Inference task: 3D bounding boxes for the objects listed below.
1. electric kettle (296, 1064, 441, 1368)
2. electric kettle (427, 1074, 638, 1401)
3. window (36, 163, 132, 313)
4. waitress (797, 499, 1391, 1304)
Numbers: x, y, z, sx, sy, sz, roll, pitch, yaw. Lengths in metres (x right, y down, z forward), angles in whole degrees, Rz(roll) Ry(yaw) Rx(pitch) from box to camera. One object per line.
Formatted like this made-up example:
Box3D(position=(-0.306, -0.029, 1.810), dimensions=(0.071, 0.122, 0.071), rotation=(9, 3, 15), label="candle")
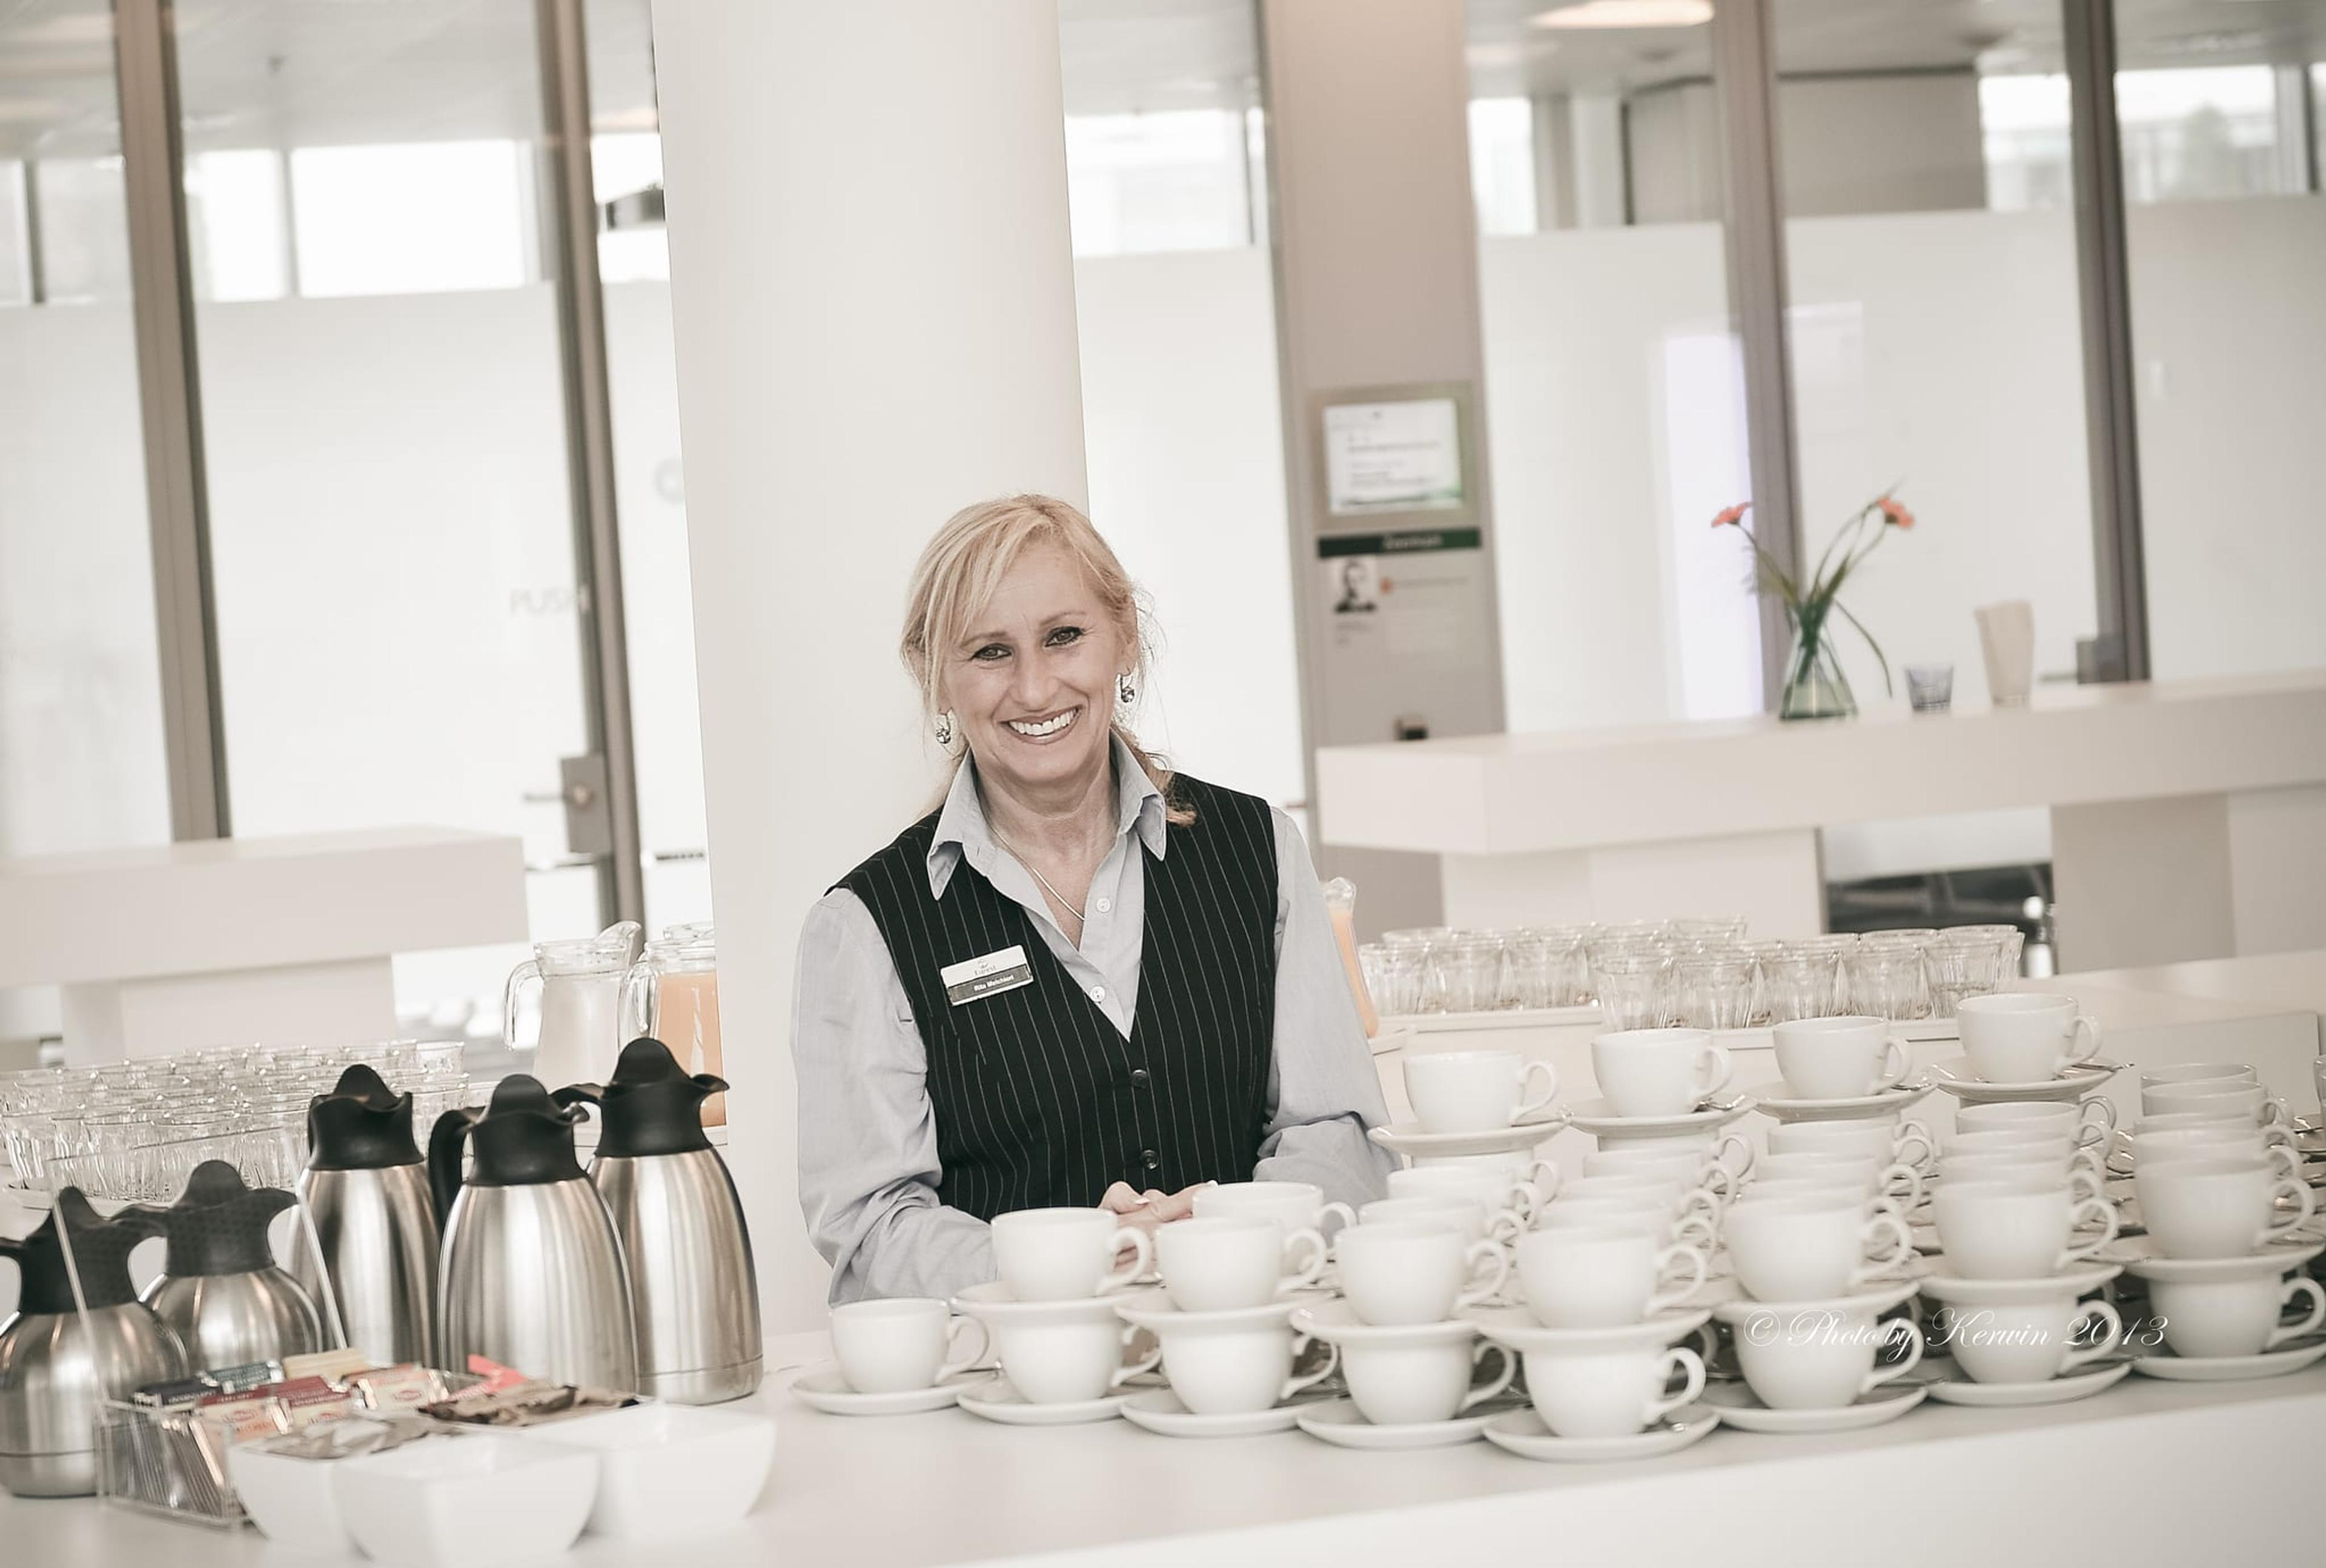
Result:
Box3D(position=(-0.843, 0.456, 2.516), dimensions=(0.138, 0.344, 0.196), rotation=(2, 27, -8), label="electric kettle")
Box3D(position=(-0.653, 0.469, 2.394), dimensions=(0.199, 0.338, 0.118), rotation=(-6, 0, -14), label="electric kettle")
Box3D(position=(-3.339, -1.729, 7.231), dimensions=(0.261, 0.475, 0.025), rotation=(-6, 1, -3), label="window")
Box3D(position=(-0.159, 0.078, 3.263), dimensions=(0.799, 1.071, 0.664), rotation=(3, 5, -25), label="waitress")
